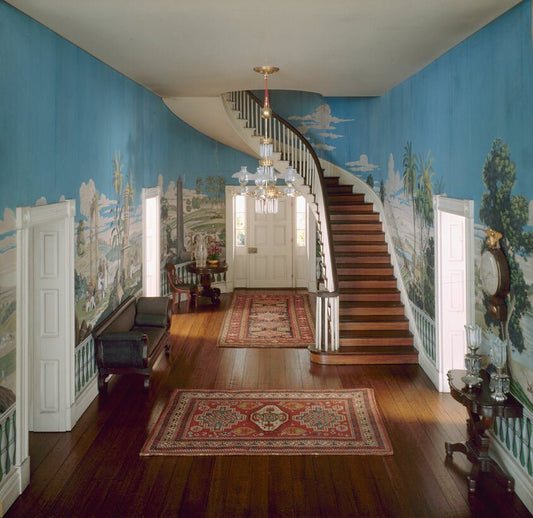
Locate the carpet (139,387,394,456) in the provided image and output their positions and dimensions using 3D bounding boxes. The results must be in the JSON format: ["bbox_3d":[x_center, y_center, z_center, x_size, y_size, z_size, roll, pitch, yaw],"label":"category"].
[{"bbox_3d":[0.036,1.900,4.718,2.671,0.031,1.544,0,4,-1],"label":"carpet"}]

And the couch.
[{"bbox_3d":[-2.037,1.271,6.267,0.610,0.943,2.259,2,6,-6],"label":"couch"}]

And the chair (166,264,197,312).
[{"bbox_3d":[-2.108,0.692,9.900,0.595,1.248,0.603,1,10,11],"label":"chair"}]

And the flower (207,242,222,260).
[{"bbox_3d":[-1.408,-0.194,10.771,0.352,0.510,0.381,0,0,0],"label":"flower"}]

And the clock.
[{"bbox_3d":[2.155,0.209,3.720,0.156,0.960,0.516,1,3,17],"label":"clock"}]

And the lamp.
[{"bbox_3d":[0.010,-1.924,6.457,0.820,2.097,0.889,-7,23,-15],"label":"lamp"}]

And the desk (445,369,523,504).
[{"bbox_3d":[1.901,1.527,3.535,0.569,0.618,0.314,6,5,43],"label":"desk"}]

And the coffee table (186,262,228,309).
[{"bbox_3d":[-1.593,0.664,10.705,0.923,1.061,1.086,-1,3,-6],"label":"coffee table"}]

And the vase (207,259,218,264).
[{"bbox_3d":[-1.427,0.074,10.511,0.310,0.159,0.180,1,4,19],"label":"vase"}]
